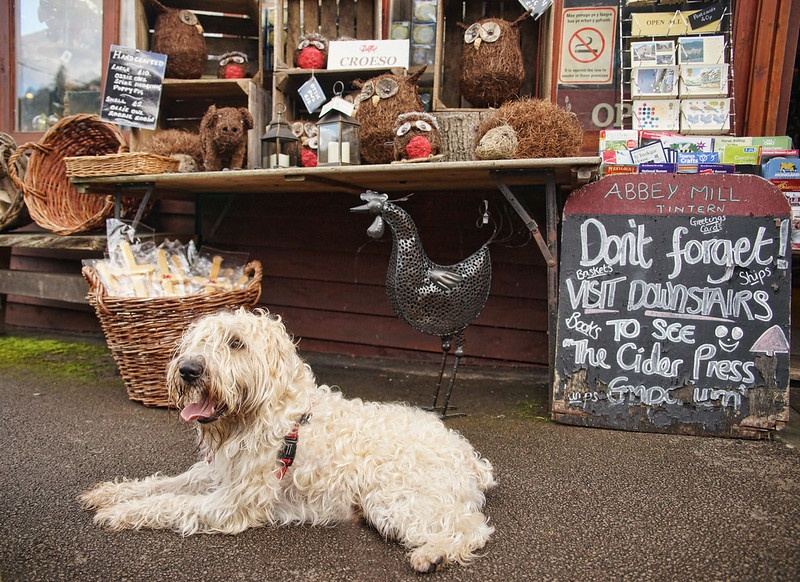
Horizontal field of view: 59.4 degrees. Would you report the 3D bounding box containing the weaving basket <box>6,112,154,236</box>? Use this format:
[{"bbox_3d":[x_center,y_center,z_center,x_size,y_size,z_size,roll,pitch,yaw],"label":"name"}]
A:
[{"bbox_3d":[-2.725,-0.854,5.964,0.983,1.199,0.657,38,22,14],"label":"weaving basket"}]

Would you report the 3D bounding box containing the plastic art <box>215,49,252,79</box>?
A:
[{"bbox_3d":[-1.367,-1.861,5.803,0.246,0.245,0.244,-1,2,-2],"label":"plastic art"}]

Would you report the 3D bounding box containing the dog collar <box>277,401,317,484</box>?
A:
[{"bbox_3d":[-0.537,0.786,3.518,0.071,0.281,0.198,7,-14,25],"label":"dog collar"}]

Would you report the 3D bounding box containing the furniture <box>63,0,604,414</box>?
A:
[{"bbox_3d":[-0.363,-0.631,5.213,3.354,3.167,1.225,0,0,6],"label":"furniture"}]

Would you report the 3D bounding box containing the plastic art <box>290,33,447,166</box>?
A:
[{"bbox_3d":[-0.226,-1.444,5.299,1.236,1.215,0.635,1,4,15],"label":"plastic art"}]

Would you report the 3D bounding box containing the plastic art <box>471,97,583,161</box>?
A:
[{"bbox_3d":[0.832,-1.038,4.578,0.481,0.244,0.526,-8,13,-14],"label":"plastic art"}]

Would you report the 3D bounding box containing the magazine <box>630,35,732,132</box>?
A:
[{"bbox_3d":[2.039,-1.480,5.412,0.794,0.772,0.686,0,4,9],"label":"magazine"}]

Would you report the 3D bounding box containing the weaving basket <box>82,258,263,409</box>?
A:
[{"bbox_3d":[-1.644,0.275,5.168,1.229,0.988,1.243,-10,-10,-15],"label":"weaving basket"}]

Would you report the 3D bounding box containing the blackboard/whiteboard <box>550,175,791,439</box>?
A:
[{"bbox_3d":[1.759,0.134,4.468,1.622,1.830,0.185,2,2,9],"label":"blackboard/whiteboard"}]

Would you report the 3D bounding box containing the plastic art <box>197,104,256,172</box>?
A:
[{"bbox_3d":[-1.382,-1.212,5.526,0.385,0.533,0.651,-4,21,-21],"label":"plastic art"}]

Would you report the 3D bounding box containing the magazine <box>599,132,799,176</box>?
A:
[{"bbox_3d":[1.999,-0.934,4.785,1.288,0.283,0.560,3,14,4],"label":"magazine"}]

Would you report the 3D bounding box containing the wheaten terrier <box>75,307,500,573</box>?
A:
[{"bbox_3d":[-0.496,0.713,3.866,1.915,0.974,1.158,3,-1,6],"label":"wheaten terrier"}]

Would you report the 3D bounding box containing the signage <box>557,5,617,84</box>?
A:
[{"bbox_3d":[1.472,-1.954,5.510,0.605,0.789,0.011,2,8,7],"label":"signage"}]
